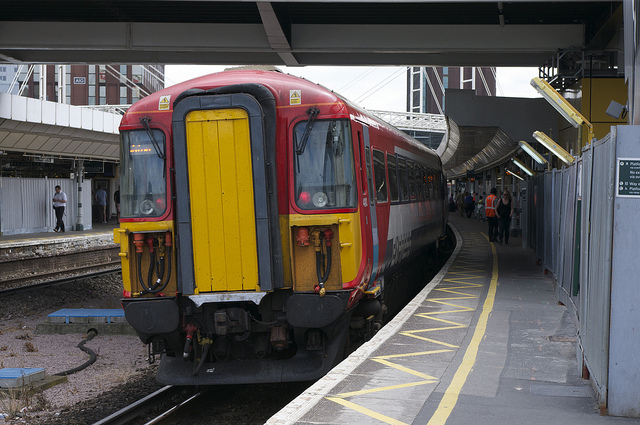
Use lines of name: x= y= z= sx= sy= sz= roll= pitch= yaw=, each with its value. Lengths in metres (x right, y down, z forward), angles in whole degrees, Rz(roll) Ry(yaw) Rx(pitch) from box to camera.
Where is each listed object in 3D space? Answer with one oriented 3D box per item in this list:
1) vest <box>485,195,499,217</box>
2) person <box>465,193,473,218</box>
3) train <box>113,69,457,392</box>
vest: x=7.194 y=-0.310 z=25.134 sx=0.381 sy=0.944 sz=0.619 roll=-2 pitch=2 yaw=17
person: x=11.592 y=-0.520 z=46.469 sx=0.528 sy=1.698 sz=1.655 roll=-2 pitch=3 yaw=15
train: x=-0.150 y=0.309 z=11.160 sx=2.913 sy=5.749 sz=6.395 roll=0 pitch=3 yaw=43
